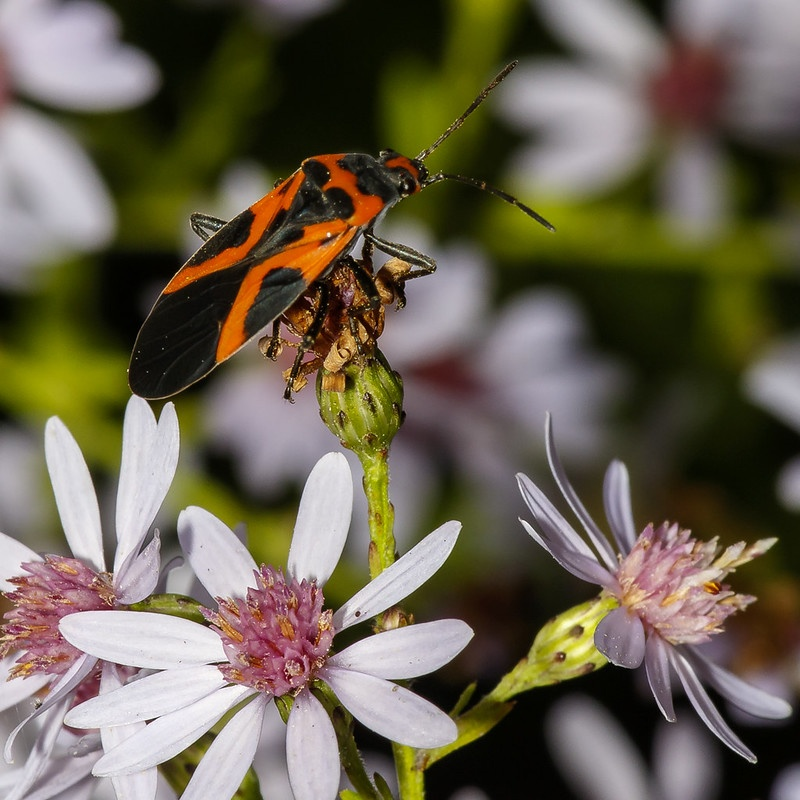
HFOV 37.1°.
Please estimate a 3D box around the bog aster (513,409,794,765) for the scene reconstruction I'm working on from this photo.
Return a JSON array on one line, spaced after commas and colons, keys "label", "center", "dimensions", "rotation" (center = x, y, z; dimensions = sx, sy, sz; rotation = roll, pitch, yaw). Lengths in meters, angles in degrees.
[{"label": "bog aster", "center": [0.495, 0.357, 2.349], "dimensions": [0.648, 0.222, 0.651], "rotation": [48, 25, 15]}]
